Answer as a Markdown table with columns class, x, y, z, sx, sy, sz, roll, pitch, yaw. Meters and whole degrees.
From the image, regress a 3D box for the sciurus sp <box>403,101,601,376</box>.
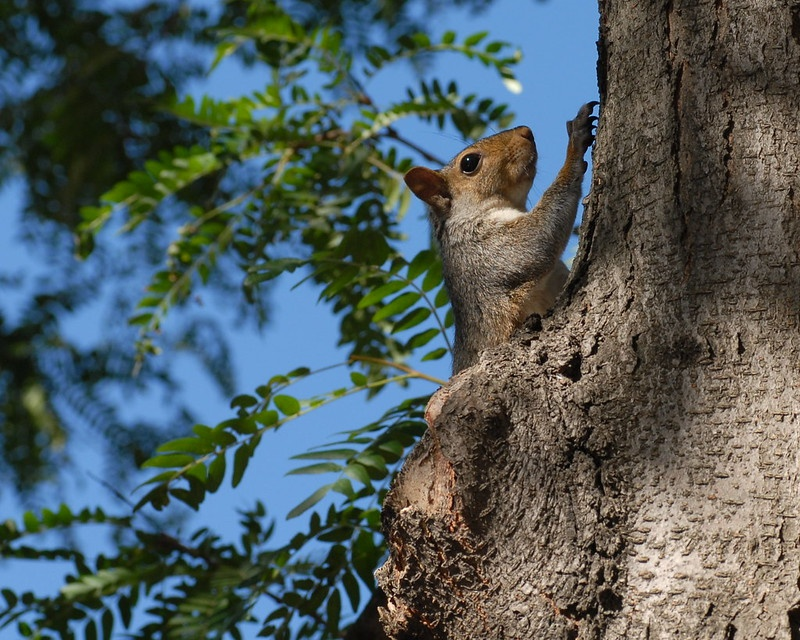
| class | x | y | z | sx | sy | sz | roll | pitch | yaw |
| --- | --- | --- | --- | --- | --- | --- | --- | --- | --- |
| sciurus sp | 0.512 | -0.426 | 9.580 | 1.041 | 1.246 | 0.528 | -26 | -40 | 26 |
